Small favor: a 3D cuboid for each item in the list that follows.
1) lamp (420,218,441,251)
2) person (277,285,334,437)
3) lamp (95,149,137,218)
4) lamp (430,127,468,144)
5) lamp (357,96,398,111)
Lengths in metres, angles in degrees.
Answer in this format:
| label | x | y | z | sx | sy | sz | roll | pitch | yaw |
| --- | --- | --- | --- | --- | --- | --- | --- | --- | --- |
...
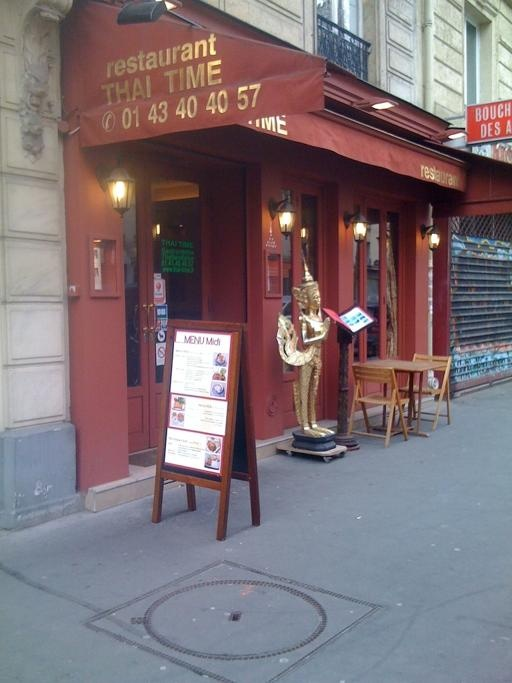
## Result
| label | x | y | z | sx | sy | sz | roll | pitch | yaw |
| --- | --- | --- | --- | --- | --- | --- | --- | --- | --- |
| lamp | 2.625 | -1.570 | 10.629 | 0.212 | 0.402 | 0.406 | 1 | 3 | 31 |
| person | 0.478 | 0.176 | 6.995 | 0.621 | 1.551 | 0.452 | -1 | 2 | -20 |
| lamp | -1.040 | -1.230 | 5.433 | 0.282 | 0.525 | 0.411 | 0 | 3 | 16 |
| lamp | 2.407 | -2.541 | 8.776 | 0.452 | 0.158 | 0.376 | -8 | -3 | 6 |
| lamp | 1.214 | -2.389 | 7.166 | 0.431 | 0.129 | 0.303 | 0 | 3 | 4 |
